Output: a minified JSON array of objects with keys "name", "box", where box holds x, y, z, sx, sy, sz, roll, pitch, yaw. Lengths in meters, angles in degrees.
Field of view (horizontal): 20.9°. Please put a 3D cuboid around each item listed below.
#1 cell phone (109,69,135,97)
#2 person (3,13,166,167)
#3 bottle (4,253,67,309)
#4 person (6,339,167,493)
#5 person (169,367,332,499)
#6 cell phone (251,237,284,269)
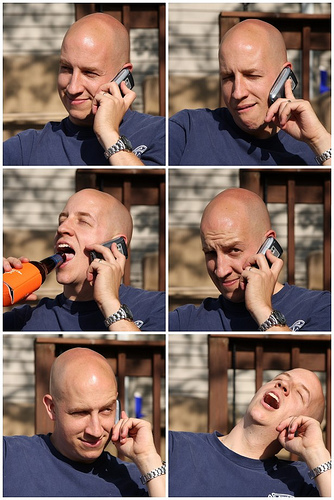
[{"name":"cell phone","box":[-0.299,-1.139,6.145,0.040,0.145,0.141,39,37,29]},{"name":"person","box":[-0.609,-1.111,6.387,1.143,1.075,0.866,-2,5,10]},{"name":"bottle","box":[-0.885,0.178,5.869,0.188,0.266,0.600,0,6,32]},{"name":"person","box":[-0.541,1.237,6.796,1.577,1.371,1.055,2,-10,-15]},{"name":"person","box":[0.546,1.214,5.989,1.053,0.803,0.474,-2,4,10]},{"name":"cell phone","box":[0.664,0.019,6.087,0.025,0.114,0.209,1,47,45]}]
